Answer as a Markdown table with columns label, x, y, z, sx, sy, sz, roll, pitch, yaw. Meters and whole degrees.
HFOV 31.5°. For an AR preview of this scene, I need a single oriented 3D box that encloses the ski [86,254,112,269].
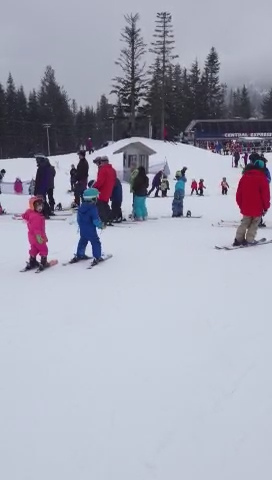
| label | x | y | z | sx | sy | sz | roll | pitch | yaw |
| --- | --- | --- | --- | --- | --- | --- | --- | --- | --- |
| ski | -0.522 | 0.289 | 6.974 | 0.104 | 0.048 | 0.665 | 22 | 27 | 19 |

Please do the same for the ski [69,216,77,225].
| label | x | y | z | sx | sy | sz | roll | pitch | yaw |
| --- | --- | --- | --- | --- | --- | --- | --- | --- | --- |
| ski | -1.499 | -0.449 | 11.472 | 0.106 | 0.064 | 0.439 | 10 | 10 | -4 |

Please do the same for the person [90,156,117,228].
| label | x | y | z | sx | sy | sz | roll | pitch | yaw |
| --- | --- | --- | --- | --- | --- | --- | --- | --- | --- |
| person | -0.720 | -1.051 | 10.364 | 0.497 | 1.533 | 0.533 | 11 | 14 | 42 |

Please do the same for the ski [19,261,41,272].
| label | x | y | z | sx | sy | sz | roll | pitch | yaw |
| --- | --- | --- | --- | --- | --- | --- | --- | --- | --- |
| ski | -1.473 | 0.384 | 6.795 | 0.105 | 0.155 | 0.356 | -2 | -4 | 38 |

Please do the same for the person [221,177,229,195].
| label | x | y | z | sx | sy | sz | roll | pitch | yaw |
| --- | --- | --- | --- | --- | --- | --- | --- | --- | --- |
| person | 4.155 | -2.573 | 22.684 | 0.288 | 0.860 | 1.429 | 1 | 15 | 10 |

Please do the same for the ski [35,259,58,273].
| label | x | y | z | sx | sy | sz | roll | pitch | yaw |
| --- | --- | --- | --- | --- | --- | --- | --- | --- | --- |
| ski | -1.243 | 0.352 | 6.906 | 0.093 | 0.130 | 0.306 | 3 | 6 | 25 |
